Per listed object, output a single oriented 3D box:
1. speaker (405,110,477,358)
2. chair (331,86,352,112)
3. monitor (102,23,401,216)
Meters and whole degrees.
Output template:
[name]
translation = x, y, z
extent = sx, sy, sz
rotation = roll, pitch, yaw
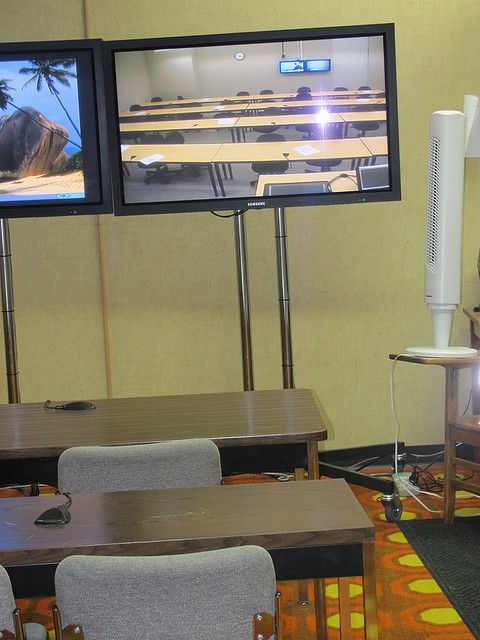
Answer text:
[speaker]
translation = 0.902, -0.419, 2.768
extent = 0.303, 1.147, 0.376
rotation = -2, 4, 19
[chair]
translation = 0.459, -1.017, 2.785
extent = 0.113, 0.153, 0.113
rotation = 0, 27, 2
[monitor]
translation = 0.044, -0.926, 2.799
extent = 1.093, 0.554, 0.027
rotation = -2, 9, 3
